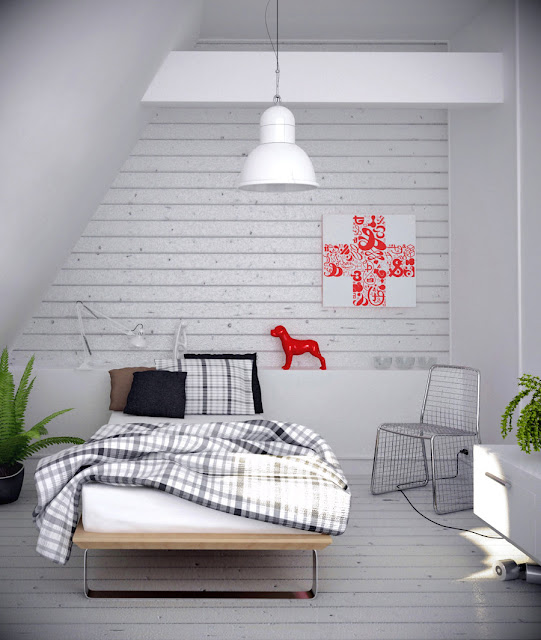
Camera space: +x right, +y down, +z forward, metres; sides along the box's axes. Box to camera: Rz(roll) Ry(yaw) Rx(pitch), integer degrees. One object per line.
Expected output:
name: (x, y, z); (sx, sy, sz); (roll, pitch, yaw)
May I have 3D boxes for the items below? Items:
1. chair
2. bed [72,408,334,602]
chair: (1.055, 0.698, 4.507); (0.690, 0.815, 1.179); (3, 6, 17)
bed: (-0.407, 0.849, 3.436); (1.123, 0.281, 1.352); (3, 17, -5)
